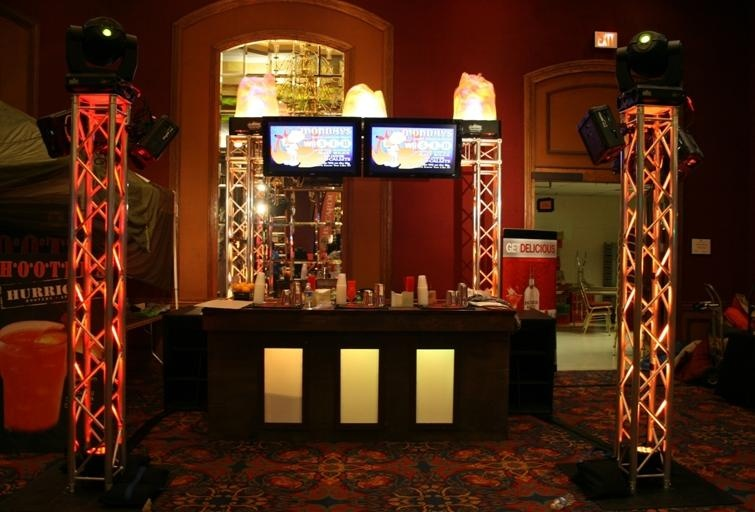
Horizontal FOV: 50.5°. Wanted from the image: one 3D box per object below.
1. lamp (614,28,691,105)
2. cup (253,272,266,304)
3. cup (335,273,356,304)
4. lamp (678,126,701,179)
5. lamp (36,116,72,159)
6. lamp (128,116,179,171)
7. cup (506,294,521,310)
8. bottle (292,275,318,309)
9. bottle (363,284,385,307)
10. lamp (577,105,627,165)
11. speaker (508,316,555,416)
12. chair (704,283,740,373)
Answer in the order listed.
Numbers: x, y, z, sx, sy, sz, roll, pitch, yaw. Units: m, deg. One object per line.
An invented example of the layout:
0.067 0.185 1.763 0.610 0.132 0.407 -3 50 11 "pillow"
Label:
2.763 -1.833 8.199 0.776 0.939 0.712 0 -1 10 "lamp"
-1.328 0.354 8.998 0.119 0.355 0.225 0 1 -12 "cup"
-0.342 0.394 9.150 0.192 0.371 0.355 -2 -6 11 "cup"
3.188 -1.079 8.137 0.216 0.459 0.323 1 1 22 "lamp"
-3.217 -1.219 7.988 0.307 0.434 0.175 0 1 -14 "lamp"
-2.304 -1.168 8.145 0.498 0.506 0.270 1 1 19 "lamp"
1.857 0.615 10.758 0.198 0.165 0.202 -1 -3 0 "cup"
-0.778 0.402 8.979 0.278 0.331 0.485 1 1 13 "bottle"
-0.010 0.450 9.048 0.287 0.298 0.164 0 -2 9 "bottle"
2.300 -1.232 8.182 0.279 0.466 0.347 -15 -17 -16 "lamp"
1.764 1.285 9.766 0.627 1.078 1.039 3 -1 1 "speaker"
4.411 0.934 10.232 0.267 1.093 0.574 1 1 7 "chair"
